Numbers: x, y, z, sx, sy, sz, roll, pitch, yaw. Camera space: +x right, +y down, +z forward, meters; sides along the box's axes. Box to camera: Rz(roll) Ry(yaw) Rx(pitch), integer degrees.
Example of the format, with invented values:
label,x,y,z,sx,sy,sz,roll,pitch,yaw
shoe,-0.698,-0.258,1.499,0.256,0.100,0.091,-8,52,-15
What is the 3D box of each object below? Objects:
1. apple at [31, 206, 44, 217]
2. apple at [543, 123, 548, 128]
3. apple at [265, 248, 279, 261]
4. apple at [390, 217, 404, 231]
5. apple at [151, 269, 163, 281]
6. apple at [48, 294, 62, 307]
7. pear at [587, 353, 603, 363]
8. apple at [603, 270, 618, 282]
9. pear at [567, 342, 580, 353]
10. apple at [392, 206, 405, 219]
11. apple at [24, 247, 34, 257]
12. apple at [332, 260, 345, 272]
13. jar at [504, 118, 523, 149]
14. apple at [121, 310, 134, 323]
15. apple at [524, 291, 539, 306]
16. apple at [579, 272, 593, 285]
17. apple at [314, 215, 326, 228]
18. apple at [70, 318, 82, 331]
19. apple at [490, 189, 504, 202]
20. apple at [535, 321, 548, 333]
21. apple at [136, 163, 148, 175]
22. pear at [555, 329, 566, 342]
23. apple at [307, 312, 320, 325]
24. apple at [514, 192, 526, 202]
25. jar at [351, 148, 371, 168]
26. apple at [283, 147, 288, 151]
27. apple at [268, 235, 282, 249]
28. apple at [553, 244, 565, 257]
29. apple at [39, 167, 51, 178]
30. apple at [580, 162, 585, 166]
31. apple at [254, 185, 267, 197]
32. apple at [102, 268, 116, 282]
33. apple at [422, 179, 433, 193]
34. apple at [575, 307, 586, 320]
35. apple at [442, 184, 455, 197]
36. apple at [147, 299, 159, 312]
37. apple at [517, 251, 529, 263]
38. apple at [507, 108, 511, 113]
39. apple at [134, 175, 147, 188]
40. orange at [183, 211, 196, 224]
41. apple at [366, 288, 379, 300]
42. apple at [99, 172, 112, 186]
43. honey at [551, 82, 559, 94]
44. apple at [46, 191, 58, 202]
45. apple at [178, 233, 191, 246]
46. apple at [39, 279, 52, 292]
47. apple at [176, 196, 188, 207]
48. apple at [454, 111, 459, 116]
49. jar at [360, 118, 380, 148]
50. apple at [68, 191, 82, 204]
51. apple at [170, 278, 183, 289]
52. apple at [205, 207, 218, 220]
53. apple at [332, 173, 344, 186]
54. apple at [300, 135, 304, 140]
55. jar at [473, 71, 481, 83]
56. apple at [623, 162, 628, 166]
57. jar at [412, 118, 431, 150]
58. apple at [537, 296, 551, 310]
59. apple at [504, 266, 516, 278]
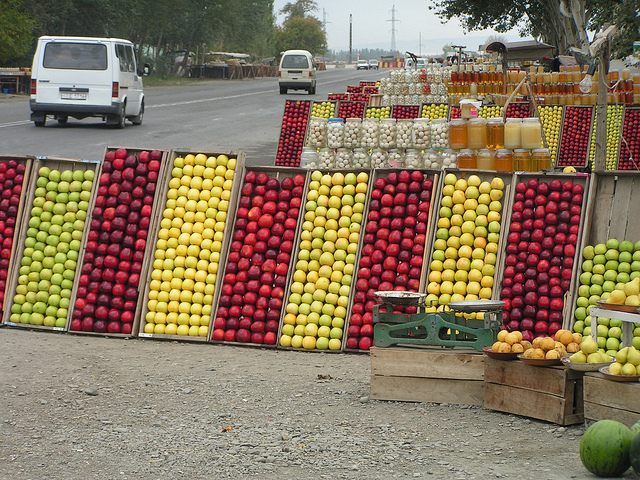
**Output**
label,x,y,z,sx,sy,sz,roll,pitch,yaw
apple,-4.022,-0.387,8.783,0.144,0.140,0.168,17,16,21
apple,7.074,-3.523,19.232,0.191,0.134,0.074,-3,7,-36
apple,-0.641,0.215,8.282,0.169,0.156,0.159,-2,3,5
apple,1.009,-0.191,7.987,0.169,0.146,0.159,-1,4,1
apple,-2.216,0.494,8.373,0.154,0.142,0.148,-3,-12,4
apple,-3.696,0.857,8.526,0.169,0.172,0.077,-1,6,-16
pear,2.421,1.044,5.396,0.090,0.088,0.103,-10,-4,-16
apple,3.345,0.419,7.039,0.116,0.109,0.112,2,4,-25
pear,2.409,1.017,5.819,0.091,0.087,0.084,1,3,8
apple,1.034,-0.345,8.007,0.148,0.135,0.141,3,-27,4
apple,-4.113,0.182,8.669,0.125,0.113,0.119,3,24,-18
apple,0.238,0.346,8.105,0.133,0.130,0.151,-4,-35,-14
jar,2.800,-1.499,8.857,0.257,0.429,0.195,3,6,17
apple,-2.605,1.054,8.311,0.150,0.141,0.142,-2,-9,7
apple,2.567,0.717,7.493,0.163,0.186,0.158,16,-12,-34
apple,3.126,0.465,7.184,0.117,0.136,0.079,21,22,28
apple,-0.001,-0.222,8.232,0.164,0.134,0.134,-6,-25,2
apple,-3.326,1.171,8.429,0.149,0.133,0.142,-7,10,3
apple,2.246,-0.546,7.757,0.171,0.142,0.111,2,6,12
apple,2.638,1.040,7.287,0.134,0.123,0.128,-1,3,-1
apple,-2.482,-0.962,8.554,0.158,0.145,0.144,0,2,-12
pear,2.368,0.956,6.034,0.116,0.101,0.099,-35,13,48
apple,-0.080,1.023,7.973,0.158,0.141,0.147,-5,-35,1
apple,2.510,-0.517,7.682,0.116,0.101,0.105,-4,3,-25
jar,0.738,-1.413,11.077,0.407,0.437,0.412,0,0,0
apple,-0.950,-2.467,16.983,0.089,0.083,0.087,0,4,-2
apple,-0.607,0.050,8.258,0.165,0.158,0.158,1,5,-13
apple,2.900,0.141,7.423,0.133,0.128,0.140,3,1,-22
apple,-3.958,-0.948,8.803,0.142,0.160,0.137,2,-27,-12
apple,8.046,-2.251,18.730,0.149,0.139,0.076,3,39,7
apple,-0.820,-0.659,8.554,0.147,0.140,0.134,2,0,-11
apple,-2.882,0.501,8.372,0.172,0.195,0.173,3,34,-5
apple,1.415,-0.688,8.081,0.155,0.142,0.140,6,-1,-9
apple,3.042,0.851,7.076,0.124,0.144,0.125,0,-9,32
apple,1.660,-0.619,7.901,0.133,0.131,0.073,0,-20,35
apple,-2.275,0.901,8.319,0.147,0.164,0.143,12,-9,-39
apple,2.495,0.228,7.523,0.112,0.131,0.117,22,-7,-7
apple,5.915,-3.976,19.123,0.079,0.136,0.211,1,6,4
apple,-2.498,-0.787,8.543,0.169,0.155,0.154,9,5,-43
orange,-1.788,-0.293,8.484,0.162,0.156,0.082,1,-2,7
apple,0.650,0.712,7.822,0.169,0.195,0.167,0,5,2
apple,-2.994,-0.824,8.564,0.180,0.181,0.093,4,6,25
honey,8.151,-5.150,21.166,0.165,0.402,0.264,-2,6,-27
apple,-3.819,-0.606,8.718,0.128,0.126,0.154,37,15,8
apple,-1.857,0.010,8.387,0.148,0.168,0.146,6,34,3
apple,-3.825,0.649,8.598,0.142,0.135,0.140,3,-34,6
apple,-1.918,-0.506,8.526,0.134,0.130,0.071,3,-11,4
apple,4.092,-3.691,18.248,0.118,0.062,0.114,-8,8,-32
jar,0.906,-1.877,11.001,0.380,0.516,0.303,2,6,15
apple,-3.494,-0.588,8.711,0.199,0.156,0.057,3,6,18
apple,-1.944,0.605,8.311,0.139,0.155,0.138,12,7,2
apple,-1.484,-0.344,8.470,0.148,0.134,0.143,-7,-18,24
apple,0.250,-0.797,8.302,0.152,0.170,0.150,4,39,6
apple,-0.500,-2.772,16.948,0.102,0.096,0.102,6,6,22
jar,5.403,-5.509,21.031,0.261,0.379,0.167,2,6,14
apple,9.057,-2.186,18.106,0.086,0.098,0.085,0,3,0
jar,1.734,-1.765,10.412,0.314,0.541,0.512,2,6,8
apple,2.682,0.762,7.336,0.149,0.169,0.145,-1,5,-1
apple,2.343,0.410,7.586,0.130,0.119,0.123,-38,-1,-14
